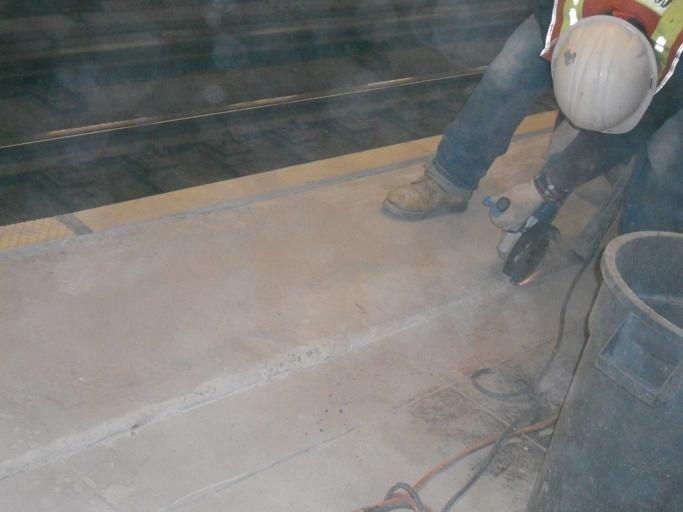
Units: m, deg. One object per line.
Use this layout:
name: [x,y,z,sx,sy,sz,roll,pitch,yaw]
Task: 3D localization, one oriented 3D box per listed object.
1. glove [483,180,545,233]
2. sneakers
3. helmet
glove: [0.830,-0.228,2.811,0.243,0.166,0.144,-20,55,-24]
sneakers: [0.424,-0.304,3.283,0.520,0.286,0.207,-5,62,-12]
helmet: [1.075,-0.738,2.510,0.425,0.428,0.367,20,23,17]
